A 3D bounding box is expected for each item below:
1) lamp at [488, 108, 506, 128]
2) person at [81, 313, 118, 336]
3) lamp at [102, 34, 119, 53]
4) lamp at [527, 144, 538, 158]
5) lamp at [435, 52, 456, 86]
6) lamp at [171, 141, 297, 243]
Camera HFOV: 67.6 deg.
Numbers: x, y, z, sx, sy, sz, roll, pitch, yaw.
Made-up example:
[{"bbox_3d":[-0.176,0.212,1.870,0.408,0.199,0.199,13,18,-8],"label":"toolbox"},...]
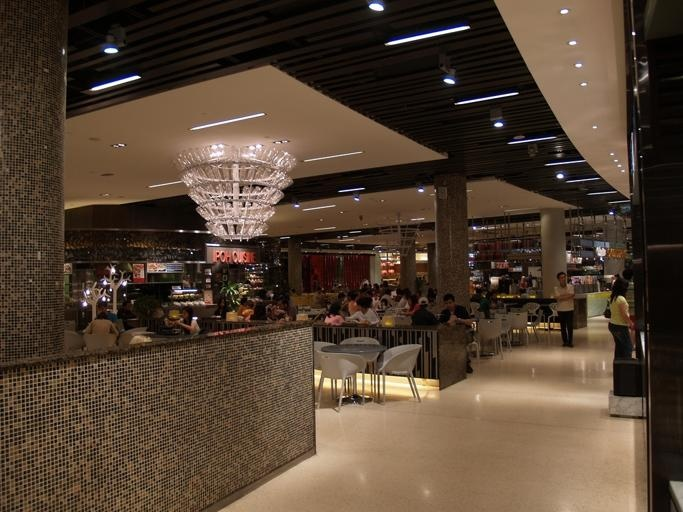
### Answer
[{"bbox_3d":[2.299,-2.000,7.496,0.211,0.270,0.101,-8,-1,10],"label":"lamp"},{"bbox_3d":[-4.386,1.218,9.179,0.548,0.383,0.867,-1,0,-33],"label":"person"},{"bbox_3d":[-2.387,-2.143,5.226,0.141,0.171,0.158,-2,3,5],"label":"lamp"},{"bbox_3d":[3.445,-1.856,9.047,0.229,0.299,0.305,-2,5,21],"label":"lamp"},{"bbox_3d":[1.176,-2.207,6.002,0.198,0.235,0.332,-1,-16,34],"label":"lamp"},{"bbox_3d":[-1.782,-1.126,8.836,1.675,1.029,1.656,-3,-7,10],"label":"lamp"}]
